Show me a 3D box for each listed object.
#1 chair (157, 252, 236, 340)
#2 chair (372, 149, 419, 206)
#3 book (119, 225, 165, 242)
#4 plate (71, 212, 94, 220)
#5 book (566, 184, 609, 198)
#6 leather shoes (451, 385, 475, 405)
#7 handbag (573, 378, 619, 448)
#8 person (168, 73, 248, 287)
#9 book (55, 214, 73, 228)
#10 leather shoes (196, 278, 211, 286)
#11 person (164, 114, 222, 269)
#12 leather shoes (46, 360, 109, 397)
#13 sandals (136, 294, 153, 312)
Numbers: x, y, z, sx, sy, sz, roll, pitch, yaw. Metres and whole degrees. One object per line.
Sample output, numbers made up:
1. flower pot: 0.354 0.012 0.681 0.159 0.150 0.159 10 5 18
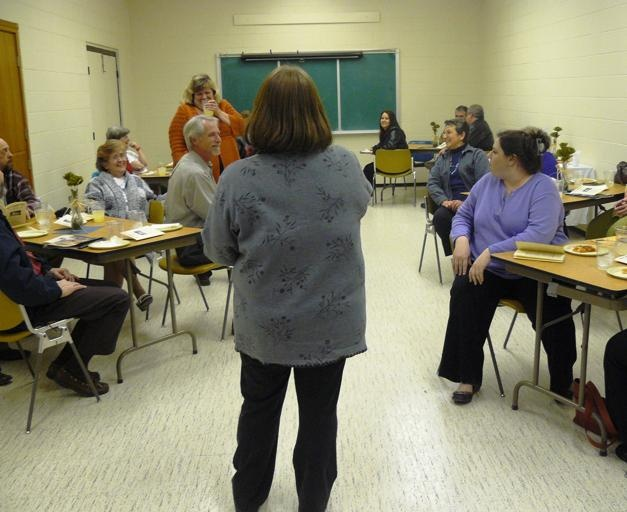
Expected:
1. chair: -0.882 0.313 3.393 0.546 0.822 0.458 -4 11 -15
2. chair: 1.512 -1.586 8.543 0.832 0.980 2.242 1 18 12
3. book: -1.047 -0.143 2.804 0.138 0.039 0.147 13 23 35
4. plate: -1.585 -0.271 3.119 0.077 0.021 0.076 21 13 -15
5. book: 2.263 -0.533 3.770 0.183 0.031 0.167 -26 23 -35
6. leather shoes: 0.792 0.727 2.430 0.057 0.061 0.154 -2 -1 20
7. handbag: 1.290 0.707 2.107 0.241 0.235 0.153 -10 10 5
8. person: -1.035 -0.772 4.446 0.698 2.038 0.555 0 -9 -19
9. book: -1.751 -0.243 3.205 0.142 0.048 0.140 -12 25 -40
10. leather shoes: -1.039 0.223 4.299 0.125 0.128 0.089 0 4 -1
11. person: -0.848 -0.489 3.418 0.478 1.100 0.461 11 35 -3
12. leather shoes: -1.342 0.687 2.579 0.305 0.124 0.174 21 8 -12
13. sandals: -1.296 0.352 3.500 0.082 0.076 0.211 -23 -17 -34
